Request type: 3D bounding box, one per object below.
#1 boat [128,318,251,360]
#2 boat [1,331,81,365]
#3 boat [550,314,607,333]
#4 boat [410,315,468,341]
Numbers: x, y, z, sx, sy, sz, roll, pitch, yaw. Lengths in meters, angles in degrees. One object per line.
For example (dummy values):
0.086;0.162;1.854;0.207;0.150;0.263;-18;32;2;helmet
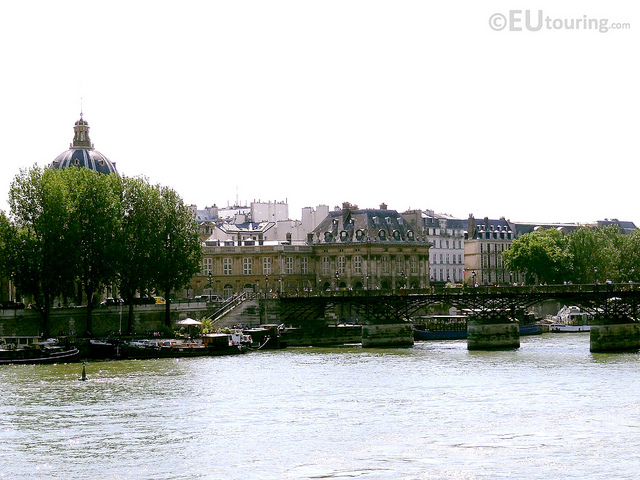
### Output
-11.755;8.864;151.420;11.457;3.265;2.613;0;-2;-24;boat
-23.183;9.342;142.675;7.336;2.585;2.146;2;-7;-31;boat
27.719;9.332;188.781;3.916;2.214;5.582;-2;-6;9;boat
13.141;9.232;178.698;9.275;2.141;2.188;8;-10;-44;boat
